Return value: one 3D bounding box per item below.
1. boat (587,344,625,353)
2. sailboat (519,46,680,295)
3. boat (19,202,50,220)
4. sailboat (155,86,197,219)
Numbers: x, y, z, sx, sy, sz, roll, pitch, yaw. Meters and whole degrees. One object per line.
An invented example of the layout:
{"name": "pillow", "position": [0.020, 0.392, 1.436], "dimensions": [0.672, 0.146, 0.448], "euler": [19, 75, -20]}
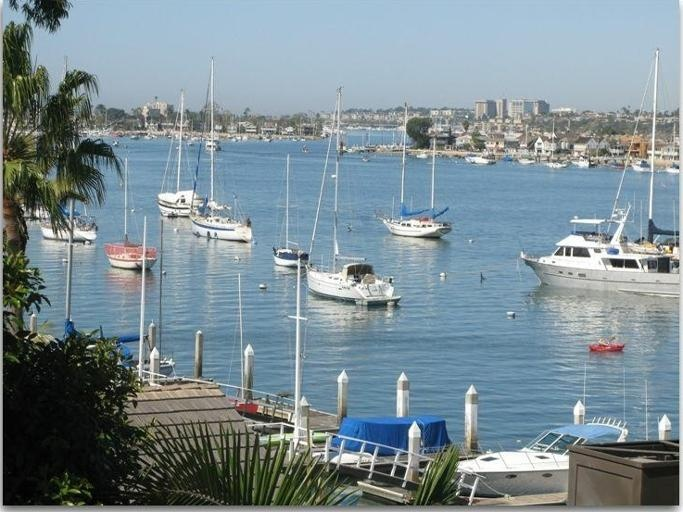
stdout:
{"name": "boat", "position": [11.918, 4.139, 68.186], "dimensions": [1.585, 0.364, 1.136], "euler": [1, 5, 7]}
{"name": "sailboat", "position": [22.569, -8.975, 132.928], "dimensions": [12.291, 12.845, 121.854], "euler": [1, 5, 7]}
{"name": "boat", "position": [-8.808, -1.317, 43.588], "dimensions": [0.416, 0.572, 1.523], "euler": [-1, 5, -30]}
{"name": "sailboat", "position": [-14.224, -8.196, 130.267], "dimensions": [2.383, 13.283, 2.489], "euler": [0, 4, 44]}
